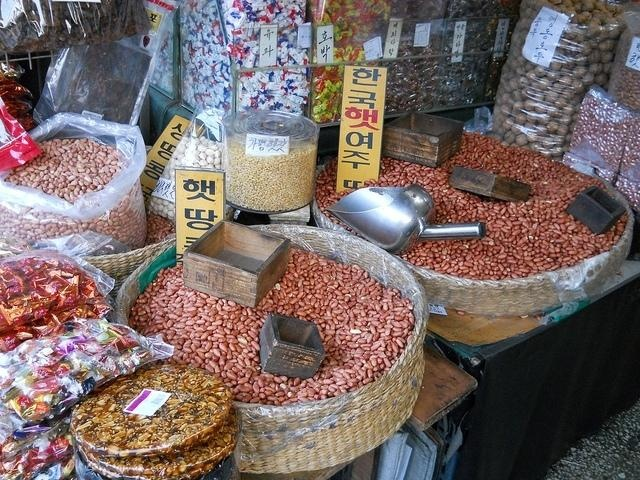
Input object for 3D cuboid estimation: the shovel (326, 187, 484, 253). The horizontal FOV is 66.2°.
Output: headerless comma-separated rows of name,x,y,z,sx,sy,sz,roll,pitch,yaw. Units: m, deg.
shovel,0.327,-0.106,1.836,0.467,0.173,0.246,17,32,23
